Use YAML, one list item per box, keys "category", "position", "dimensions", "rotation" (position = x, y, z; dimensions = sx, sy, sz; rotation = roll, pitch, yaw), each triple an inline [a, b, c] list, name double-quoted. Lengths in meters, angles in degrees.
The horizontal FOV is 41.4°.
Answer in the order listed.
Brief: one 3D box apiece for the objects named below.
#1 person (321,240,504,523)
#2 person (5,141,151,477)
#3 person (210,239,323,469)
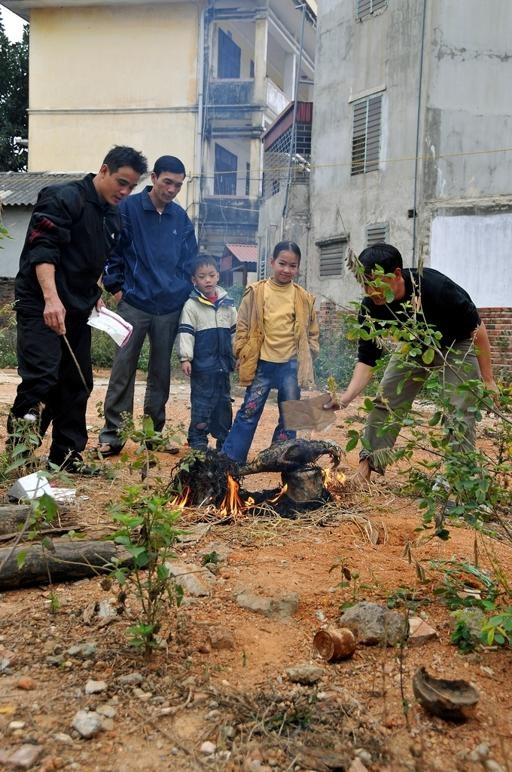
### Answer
- category: "person"
  position: [0.779, -0.021, 3.385]
  dimensions: [0.900, 1.380, 1.625]
  rotation: [4, 7, 12]
- category: "person"
  position: [-1.067, -0.412, 3.802]
  dimensions: [0.575, 1.937, 0.878]
  rotation: [6, 8, 25]
- category: "person"
  position: [0.118, -0.241, 4.881]
  dimensions: [0.625, 1.539, 0.671]
  rotation: [3, 8, 5]
